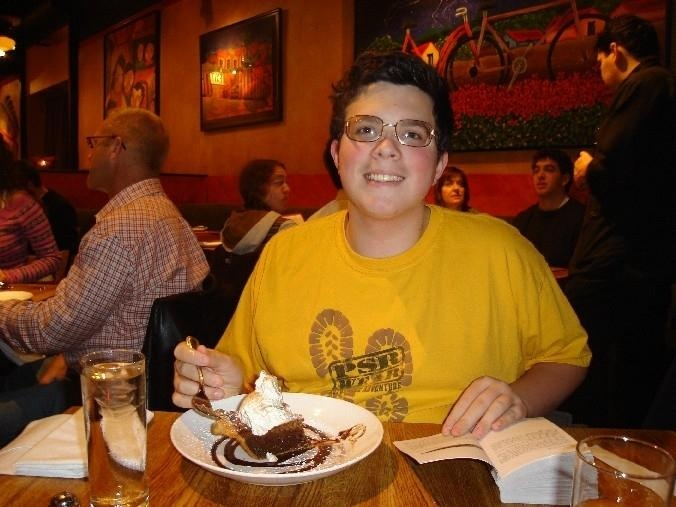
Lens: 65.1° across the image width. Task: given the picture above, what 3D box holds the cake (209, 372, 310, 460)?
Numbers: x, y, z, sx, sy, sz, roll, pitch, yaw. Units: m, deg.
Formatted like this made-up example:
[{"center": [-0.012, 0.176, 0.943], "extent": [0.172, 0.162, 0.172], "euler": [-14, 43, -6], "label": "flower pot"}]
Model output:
[{"center": [-0.191, 0.405, 1.369], "extent": [0.310, 0.149, 0.223], "euler": [0, 4, 25], "label": "cake"}]

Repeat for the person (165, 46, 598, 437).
[{"center": [0.110, -0.025, 1.711], "extent": [1.313, 1.212, 0.823], "euler": [0, -2, 21], "label": "person"}]

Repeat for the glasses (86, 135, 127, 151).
[{"center": [-1.168, -0.560, 2.735], "extent": [0.131, 0.045, 0.140], "euler": [3, 0, 36], "label": "glasses"}]

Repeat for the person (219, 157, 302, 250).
[{"center": [-0.645, -0.360, 4.460], "extent": [0.601, 0.826, 1.105], "euler": [-3, -6, -12], "label": "person"}]
